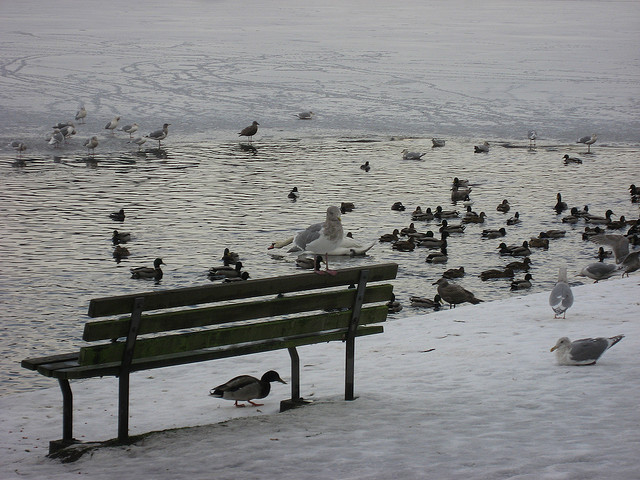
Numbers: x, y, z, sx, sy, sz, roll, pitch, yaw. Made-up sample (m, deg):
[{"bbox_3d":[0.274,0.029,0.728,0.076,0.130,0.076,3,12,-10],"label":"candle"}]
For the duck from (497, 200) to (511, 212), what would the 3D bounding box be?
[{"bbox_3d":[7.845,-1.421,41.908,0.556,0.452,0.838,0,6,9],"label":"duck"}]

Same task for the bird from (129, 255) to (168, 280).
[{"bbox_3d":[-5.776,0.989,31.632,1.549,0.587,0.598,0,10,0],"label":"bird"}]

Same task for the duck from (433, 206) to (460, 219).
[{"bbox_3d":[5.279,-1.070,41.068,1.213,0.411,0.503,2,-3,15],"label":"duck"}]

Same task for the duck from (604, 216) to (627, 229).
[{"bbox_3d":[11.587,-0.661,38.374,0.432,0.457,0.800,6,10,44],"label":"duck"}]

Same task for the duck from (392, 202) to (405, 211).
[{"bbox_3d":[3.317,-1.416,42.016,0.507,0.346,0.602,-1,6,4],"label":"duck"}]

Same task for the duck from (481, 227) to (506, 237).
[{"bbox_3d":[6.646,-0.274,37.694,0.898,0.270,0.352,0,9,9],"label":"duck"}]

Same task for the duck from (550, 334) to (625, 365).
[{"bbox_3d":[5.692,2.298,21.107,1.742,0.589,0.478,-10,18,-8],"label":"duck"}]

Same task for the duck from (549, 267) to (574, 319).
[{"bbox_3d":[6.000,1.420,24.431,0.570,0.901,1.165,0,7,12],"label":"duck"}]

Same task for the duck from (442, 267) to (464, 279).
[{"bbox_3d":[4.347,1.074,32.125,0.894,0.300,0.391,-4,7,-35],"label":"duck"}]

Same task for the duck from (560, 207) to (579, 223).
[{"bbox_3d":[10.175,-0.953,39.568,0.666,0.498,0.900,4,8,35],"label":"duck"}]

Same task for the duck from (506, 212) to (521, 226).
[{"bbox_3d":[7.775,-0.818,39.630,0.471,0.344,0.805,14,17,42],"label":"duck"}]

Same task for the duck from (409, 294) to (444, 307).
[{"bbox_3d":[3.142,1.792,29.171,0.907,0.328,0.356,3,9,-4],"label":"duck"}]

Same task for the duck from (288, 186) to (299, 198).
[{"bbox_3d":[-1.272,-2.088,43.973,0.636,0.379,0.529,7,11,21],"label":"duck"}]

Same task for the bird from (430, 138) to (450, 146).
[{"bbox_3d":[7.135,-5.877,59.635,0.955,0.249,0.895,0,2,-5],"label":"bird"}]

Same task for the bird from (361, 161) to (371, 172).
[{"bbox_3d":[2.300,-3.799,51.401,0.531,0.407,0.663,9,15,33],"label":"bird"}]

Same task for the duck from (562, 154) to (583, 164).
[{"bbox_3d":[13.940,-4.410,54.020,0.954,0.518,1.003,0,6,10],"label":"duck"}]
